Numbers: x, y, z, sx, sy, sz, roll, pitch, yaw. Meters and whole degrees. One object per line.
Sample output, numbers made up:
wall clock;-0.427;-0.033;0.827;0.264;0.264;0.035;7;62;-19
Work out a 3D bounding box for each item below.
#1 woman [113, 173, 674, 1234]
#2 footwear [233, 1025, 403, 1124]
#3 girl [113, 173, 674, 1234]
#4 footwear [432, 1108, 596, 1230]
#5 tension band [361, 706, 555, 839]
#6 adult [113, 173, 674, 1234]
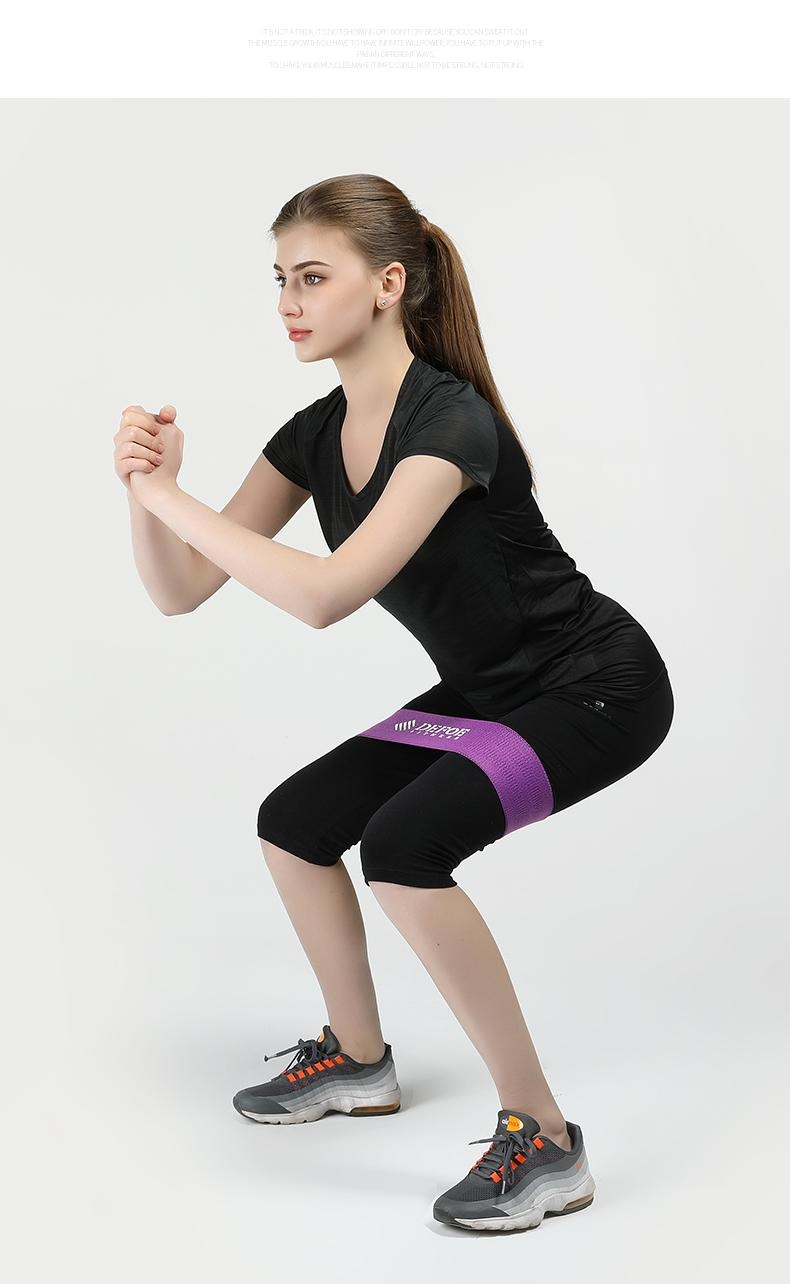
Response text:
woman;0.008;0.041;1.764;0.833;1.447;0.728;-4;10;-20
footwear;-0.116;0.771;2.031;0.343;0.182;0.118;-1;-9;-7
girl;0.019;0.051;1.758;0.840;1.467;0.662;-6;11;-29
footwear;0.169;0.722;1.552;0.253;0.140;0.106;4;-13;-42
tension band;0.104;0.190;1.759;0.149;0.183;0.379;-11;-3;-22
adult;-0.240;0.141;2.723;1.425;2.468;1.307;2;-5;-20
